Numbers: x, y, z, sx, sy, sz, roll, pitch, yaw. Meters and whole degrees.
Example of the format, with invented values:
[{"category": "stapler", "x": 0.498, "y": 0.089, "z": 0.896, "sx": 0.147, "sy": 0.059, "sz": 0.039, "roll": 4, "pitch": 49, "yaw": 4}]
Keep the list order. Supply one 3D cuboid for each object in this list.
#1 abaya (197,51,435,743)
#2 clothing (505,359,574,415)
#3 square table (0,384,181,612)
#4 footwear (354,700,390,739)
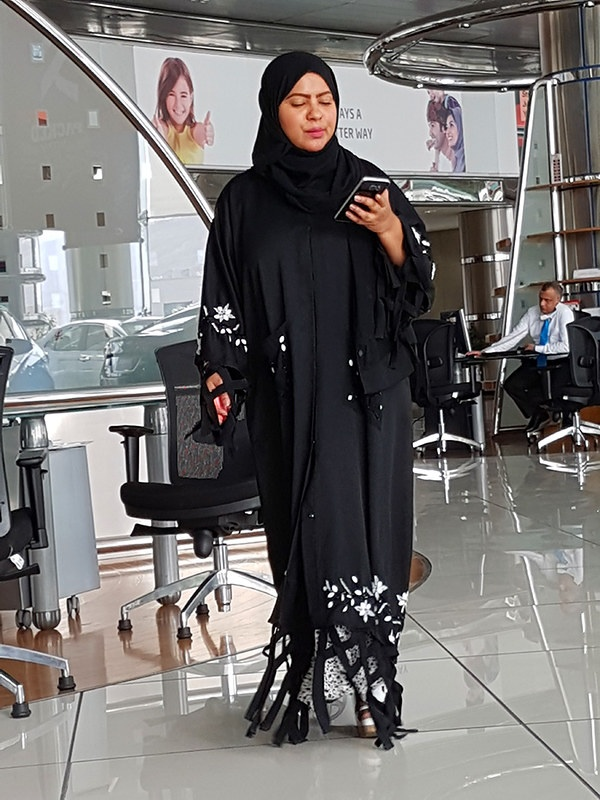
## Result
[{"category": "abaya", "x": 0.079, "y": 0.010, "z": 1.518, "sx": 0.543, "sy": 1.441, "sz": 0.342, "roll": -11, "pitch": -5, "yaw": 40}, {"category": "clothing", "x": 2.526, "y": -0.116, "z": 7.656, "sx": 0.662, "sy": 0.737, "sz": 0.654, "roll": 1, "pitch": 3, "yaw": 9}, {"category": "square table", "x": -0.910, "y": 0.451, "z": 3.116, "sx": 1.043, "sy": 0.928, "sz": 0.284, "roll": -8, "pitch": 10, "yaw": -14}, {"category": "footwear", "x": 0.145, "y": 0.687, "z": 1.511, "sx": 0.035, "sy": 0.063, "sz": 0.097, "roll": 0, "pitch": -14, "yaw": -6}]
